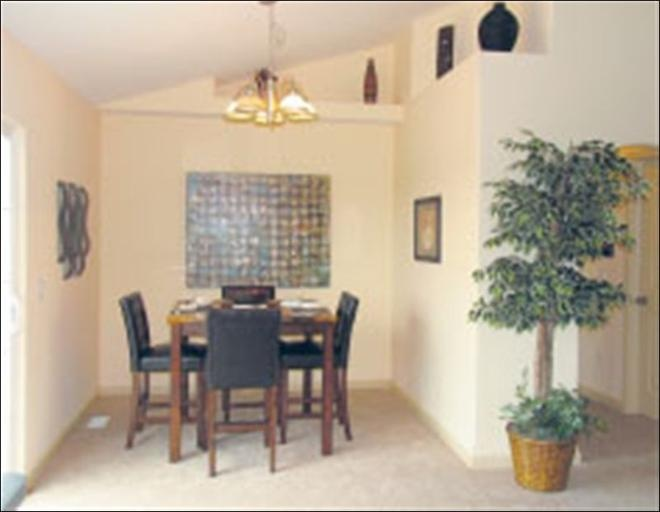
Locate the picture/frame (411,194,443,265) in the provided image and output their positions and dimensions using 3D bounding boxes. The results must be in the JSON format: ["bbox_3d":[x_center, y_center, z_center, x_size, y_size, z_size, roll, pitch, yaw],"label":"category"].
[{"bbox_3d":[0.591,-0.167,3.670,0.033,0.503,0.421,1,-1,-20],"label":"picture/frame"}]

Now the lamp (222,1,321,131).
[{"bbox_3d":[-0.388,-1.093,3.440,0.484,0.786,0.727,-4,2,-19],"label":"lamp"}]

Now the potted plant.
[{"bbox_3d":[1.167,0.243,3.104,0.848,1.785,0.521,-4,2,-21],"label":"potted plant"}]
